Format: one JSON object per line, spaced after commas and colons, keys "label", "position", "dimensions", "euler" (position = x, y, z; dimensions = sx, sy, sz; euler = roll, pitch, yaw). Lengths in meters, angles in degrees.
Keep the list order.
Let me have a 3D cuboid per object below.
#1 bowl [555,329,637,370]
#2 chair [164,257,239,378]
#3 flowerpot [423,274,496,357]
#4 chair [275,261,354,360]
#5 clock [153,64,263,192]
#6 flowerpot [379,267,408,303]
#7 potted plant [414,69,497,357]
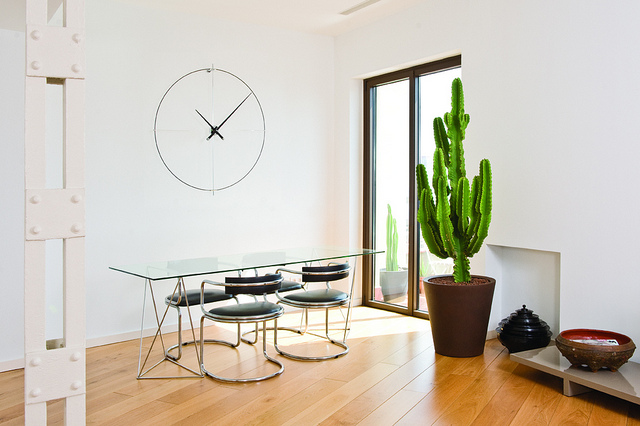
{"label": "bowl", "position": [2.130, 1.053, 3.851], "dimensions": [0.362, 0.150, 0.370], "euler": [-3, 0, 0]}
{"label": "chair", "position": [-1.232, 0.966, 4.732], "dimensions": [0.644, 0.621, 0.842], "euler": [13, -16, -13]}
{"label": "flowerpot", "position": [1.253, 0.929, 4.730], "dimensions": [0.513, 0.719, 0.572], "euler": [2, 2, -19]}
{"label": "chair", "position": [-0.022, 0.884, 5.234], "dimensions": [0.807, 1.003, 0.886], "euler": [-2, 6, -37]}
{"label": "clock", "position": [-1.211, -0.933, 5.584], "dimensions": [1.275, 1.320, 1.249], "euler": [-6, 18, -30]}
{"label": "flowerpot", "position": [0.959, 0.881, 6.117], "dimensions": [0.421, 0.522, 0.369], "euler": [2, -9, -12]}
{"label": "potted plant", "position": [1.351, 0.010, 4.759], "dimensions": [0.884, 2.556, 0.766], "euler": [-8, 11, -41]}
